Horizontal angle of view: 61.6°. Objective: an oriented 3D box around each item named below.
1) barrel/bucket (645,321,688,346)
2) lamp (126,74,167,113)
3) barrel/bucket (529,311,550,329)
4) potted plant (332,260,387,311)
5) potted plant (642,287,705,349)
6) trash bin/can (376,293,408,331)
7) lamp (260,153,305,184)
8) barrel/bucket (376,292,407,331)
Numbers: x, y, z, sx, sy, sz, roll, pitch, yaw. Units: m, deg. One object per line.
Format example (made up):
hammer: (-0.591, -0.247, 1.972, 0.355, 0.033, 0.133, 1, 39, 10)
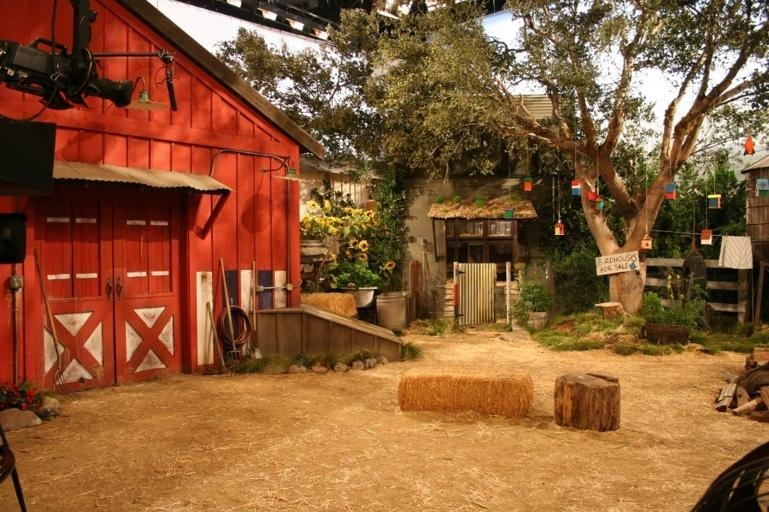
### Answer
barrel/bucket: (7.129, 1.976, 16.422, 0.639, 0.442, 0.625, 1, -7, 0)
lamp: (-4.327, -2.947, 11.599, 0.750, 0.509, 0.753, 24, 25, 38)
barrel/bucket: (4.624, 1.914, 19.319, 0.593, 0.594, 0.435, 0, 1, 21)
potted plant: (-0.909, 0.866, 19.282, 1.293, 1.266, 1.545, 4, 10, 16)
potted plant: (7.550, 1.645, 17.131, 1.462, 1.264, 1.810, 1, -3, -1)
trash bin/can: (0.184, 1.664, 19.419, 0.854, 1.084, 1.535, 0, -2, 16)
lamp: (-2.279, -1.956, 14.393, 0.856, 0.542, 0.490, -4, -1, 9)
barrel/bucket: (0.258, 1.674, 19.193, 1.039, 1.089, 0.476, -5, 12, -30)
